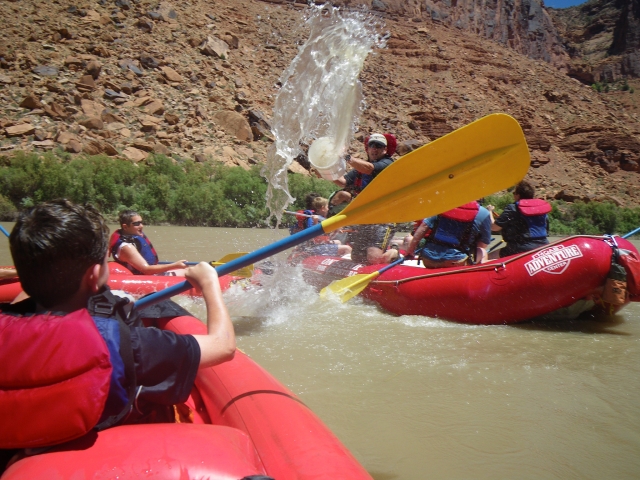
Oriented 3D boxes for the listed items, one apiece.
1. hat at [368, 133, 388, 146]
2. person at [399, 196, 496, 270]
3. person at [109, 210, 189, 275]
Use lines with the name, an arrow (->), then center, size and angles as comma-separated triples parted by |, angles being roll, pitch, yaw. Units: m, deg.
hat -> 0.676, -1.138, 5.601 | 0.184, 0.099, 0.208 | 6, -16, 17
person -> 1.340, 0.004, 4.990 | 0.739, 0.808, 0.329 | 24, 45, -5
person -> -1.928, -0.019, 5.300 | 1.033, 0.703, 0.708 | -5, 16, -13
